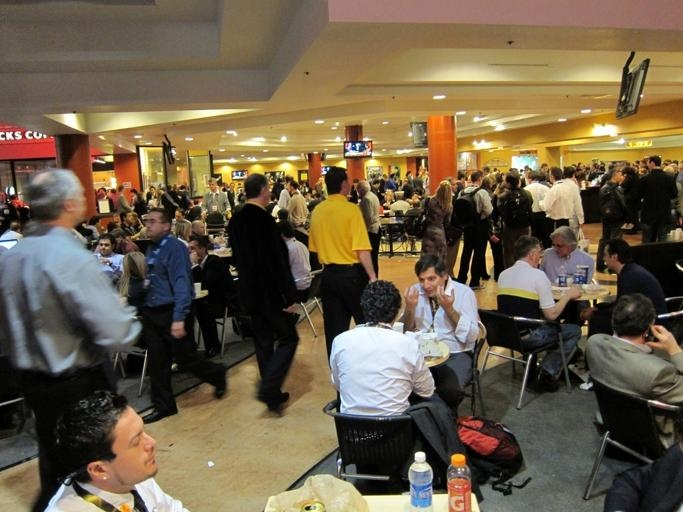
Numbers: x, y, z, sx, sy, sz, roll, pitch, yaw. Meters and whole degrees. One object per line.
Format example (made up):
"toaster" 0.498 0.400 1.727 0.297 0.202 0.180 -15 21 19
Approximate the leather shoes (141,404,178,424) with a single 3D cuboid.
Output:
"leather shoes" -1.719 1.495 4.651 0.348 0.121 0.110 -1 4 -23

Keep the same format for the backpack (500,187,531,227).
"backpack" 2.993 -0.819 8.395 0.699 0.785 0.462 -2 9 14

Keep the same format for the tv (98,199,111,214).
"tv" -8.782 -1.808 18.113 0.512 0.471 0.689 8 -21 -21

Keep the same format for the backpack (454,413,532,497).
"backpack" 1.075 1.405 3.503 0.436 0.508 0.216 3 -21 -33

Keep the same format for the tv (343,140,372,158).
"tv" 0.572 -3.681 16.995 0.946 0.483 0.119 -1 2 -11
